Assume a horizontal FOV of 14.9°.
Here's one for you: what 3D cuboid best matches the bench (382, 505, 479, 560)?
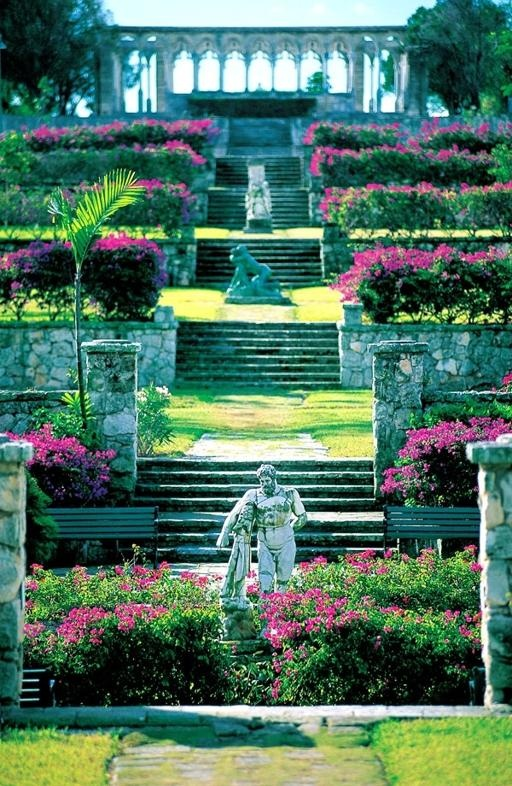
[{"bbox_3d":[2.005,1.545,22.365,1.076,0.496,0.518,-1,3,3],"label":"bench"}]

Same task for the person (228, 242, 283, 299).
[{"bbox_3d":[-0.045,-2.177,35.553,1.026,1.102,0.658,-2,9,-1],"label":"person"}]

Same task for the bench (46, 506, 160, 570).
[{"bbox_3d":[-1.784,1.640,22.951,1.241,0.660,1.207,-1,3,-5],"label":"bench"}]

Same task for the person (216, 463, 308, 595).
[{"bbox_3d":[0.048,1.467,20.487,1.071,1.403,0.412,-3,4,-38],"label":"person"}]
